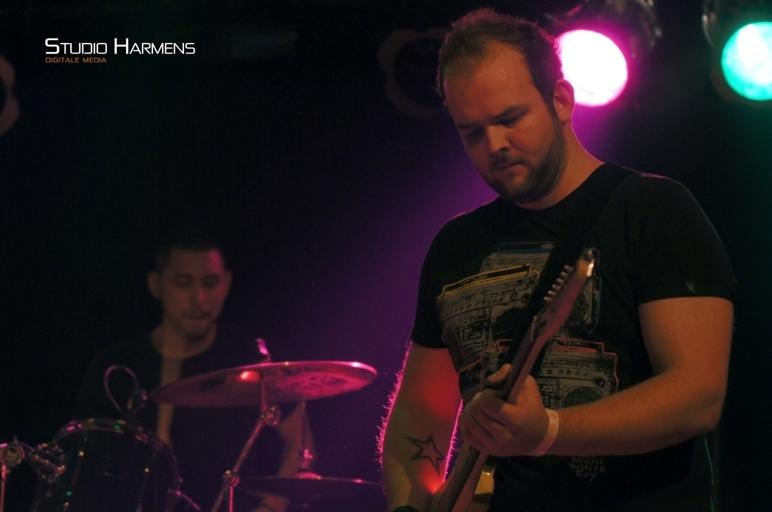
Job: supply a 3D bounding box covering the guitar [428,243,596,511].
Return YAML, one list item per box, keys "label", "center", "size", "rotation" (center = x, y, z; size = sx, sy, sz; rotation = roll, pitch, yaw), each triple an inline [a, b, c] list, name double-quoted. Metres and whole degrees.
- label: "guitar"
  center: [0.689, 0.647, 3.994]
  size: [0.189, 1.694, 0.197]
  rotation: [19, 22, -50]
